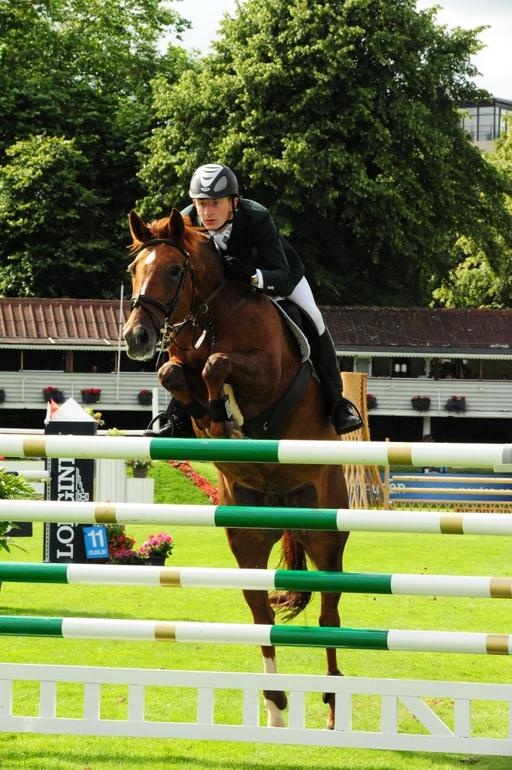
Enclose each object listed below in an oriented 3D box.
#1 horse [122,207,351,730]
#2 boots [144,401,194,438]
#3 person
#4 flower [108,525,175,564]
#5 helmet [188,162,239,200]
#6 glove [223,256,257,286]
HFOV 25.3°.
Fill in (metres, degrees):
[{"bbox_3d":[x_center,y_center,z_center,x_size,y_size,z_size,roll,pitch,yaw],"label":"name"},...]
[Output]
[{"bbox_3d":[-0.111,0.142,5.544,0.530,1.356,2.095,7,-11,21],"label":"horse"},{"bbox_3d":[-0.416,0.218,5.678,0.171,0.230,0.085,-2,16,-15],"label":"boots"},{"bbox_3d":[-0.034,-0.352,5.594,0.663,1.151,1.144,-22,-22,23],"label":"person"},{"bbox_3d":[-1.072,1.499,10.428,0.396,0.294,0.440,-1,0,14],"label":"flower"},{"bbox_3d":[-0.197,-0.953,5.400,0.218,0.175,0.209,-1,2,-3],"label":"helmet"},{"bbox_3d":[-0.090,-0.515,5.280,0.052,0.143,0.108,-43,-13,-30],"label":"glove"}]
